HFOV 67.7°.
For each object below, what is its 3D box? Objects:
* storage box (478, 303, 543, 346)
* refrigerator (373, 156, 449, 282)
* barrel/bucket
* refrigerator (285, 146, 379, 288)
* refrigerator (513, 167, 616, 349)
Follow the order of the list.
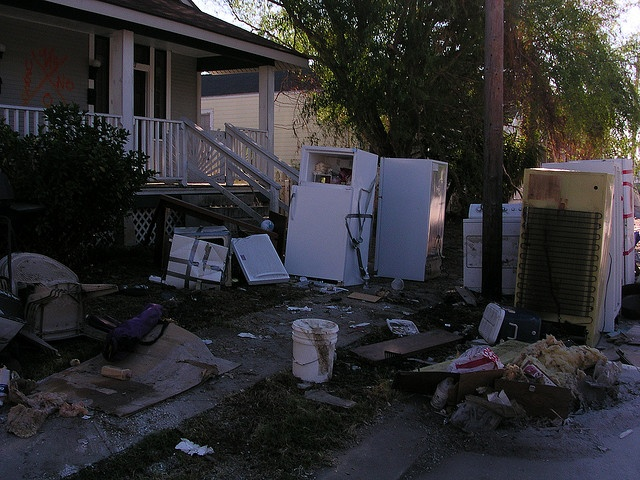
[{"bbox_3d":[2.455,1.091,6.227,0.501,0.447,0.557,12,10,-5],"label":"storage box"},{"bbox_3d":[1.895,-0.438,9.972,1.422,2.475,0.902,3,11,3],"label":"refrigerator"},{"bbox_3d":[-0.065,1.216,5.265,0.530,0.608,0.579,4,7,0],"label":"barrel/bucket"},{"bbox_3d":[0.182,-0.493,9.305,1.635,2.567,1.214,4,11,8],"label":"refrigerator"},{"bbox_3d":[3.585,0.005,7.140,1.384,2.358,1.427,-3,18,7],"label":"refrigerator"}]
